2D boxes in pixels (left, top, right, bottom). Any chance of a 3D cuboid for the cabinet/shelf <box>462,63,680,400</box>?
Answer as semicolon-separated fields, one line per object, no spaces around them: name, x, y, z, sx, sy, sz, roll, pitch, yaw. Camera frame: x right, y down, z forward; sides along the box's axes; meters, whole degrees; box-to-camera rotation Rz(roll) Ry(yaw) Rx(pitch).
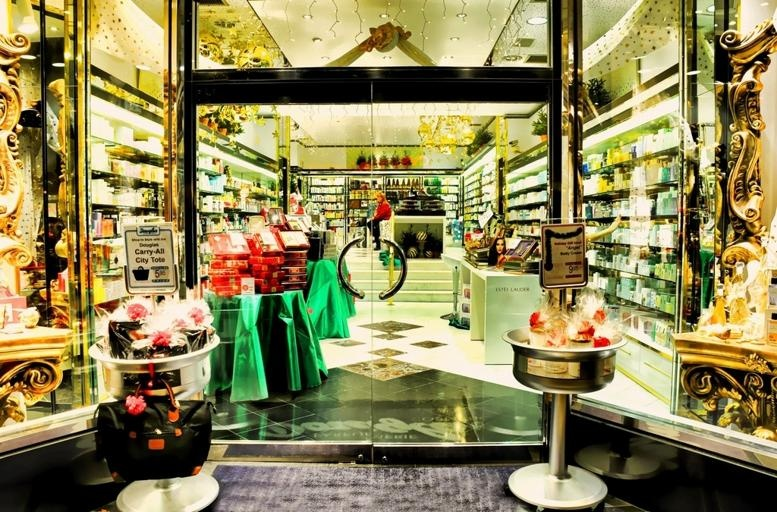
cabinet/shelf;1.524;-0.212;4.770;0.872;2.603;2.720;0;4;-1

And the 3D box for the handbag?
handbag;-1.537;1.124;3.835;0.828;0.700;0.319;-1;-7;-4
